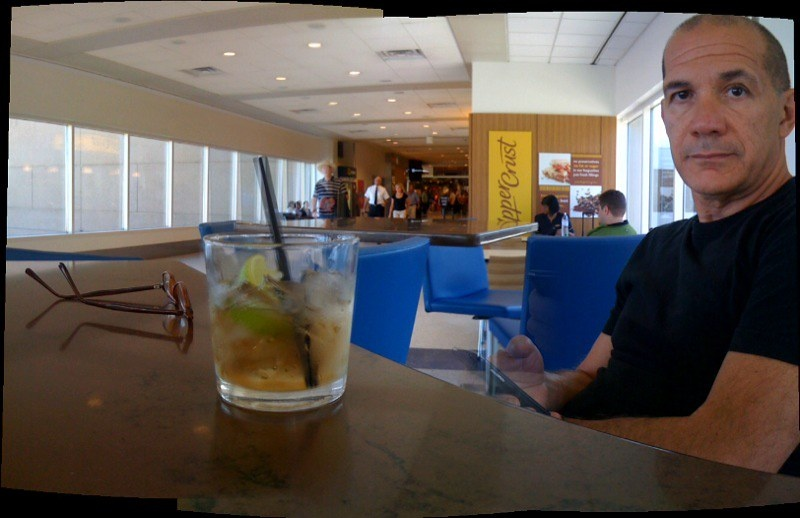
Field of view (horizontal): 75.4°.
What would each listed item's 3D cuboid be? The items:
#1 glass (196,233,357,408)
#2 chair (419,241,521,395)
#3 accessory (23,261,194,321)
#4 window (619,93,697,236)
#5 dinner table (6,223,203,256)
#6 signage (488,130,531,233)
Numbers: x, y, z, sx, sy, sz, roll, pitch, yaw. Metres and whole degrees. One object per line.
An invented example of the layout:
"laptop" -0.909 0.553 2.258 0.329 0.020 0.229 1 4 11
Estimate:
"glass" -0.127 0.070 0.571 0.155 0.164 0.154 2 -5 -20
"chair" 0.450 0.232 2.912 0.546 0.676 0.428 -6 1 -38
"accessory" -0.435 0.064 0.815 0.165 0.044 0.159 4 4 -16
"window" 3.703 -1.288 6.971 0.859 1.429 0.808 -22 2 -27
"dinner table" -5.149 -0.299 9.505 0.324 0.634 4.811 6 4 30
"signage" 1.730 -1.269 8.251 0.711 1.546 0.070 -1 6 -5
